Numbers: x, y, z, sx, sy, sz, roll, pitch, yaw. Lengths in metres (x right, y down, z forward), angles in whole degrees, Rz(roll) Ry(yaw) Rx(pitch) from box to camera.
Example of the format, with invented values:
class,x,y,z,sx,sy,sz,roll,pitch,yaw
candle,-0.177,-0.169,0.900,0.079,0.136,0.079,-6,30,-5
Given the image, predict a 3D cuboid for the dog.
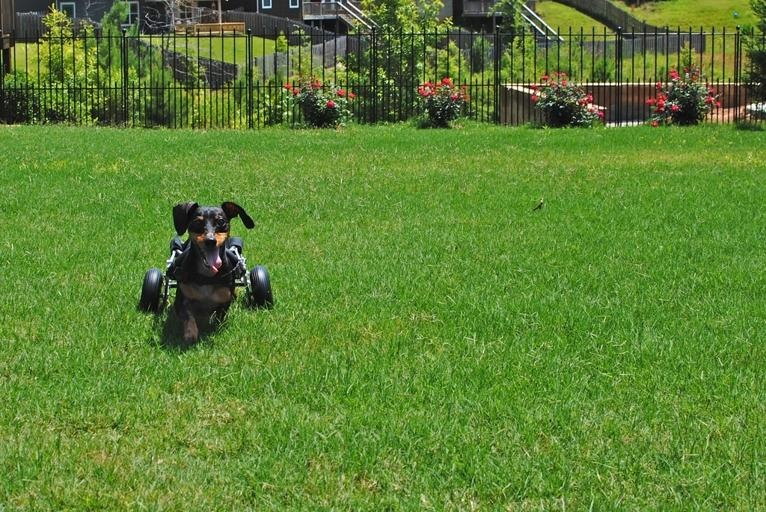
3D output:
class,x,y,z,sx,sy,sz,roll,pitch,yaw
dog,-1.862,-0.008,10.685,0.622,1.542,1.847,3,19,-11
